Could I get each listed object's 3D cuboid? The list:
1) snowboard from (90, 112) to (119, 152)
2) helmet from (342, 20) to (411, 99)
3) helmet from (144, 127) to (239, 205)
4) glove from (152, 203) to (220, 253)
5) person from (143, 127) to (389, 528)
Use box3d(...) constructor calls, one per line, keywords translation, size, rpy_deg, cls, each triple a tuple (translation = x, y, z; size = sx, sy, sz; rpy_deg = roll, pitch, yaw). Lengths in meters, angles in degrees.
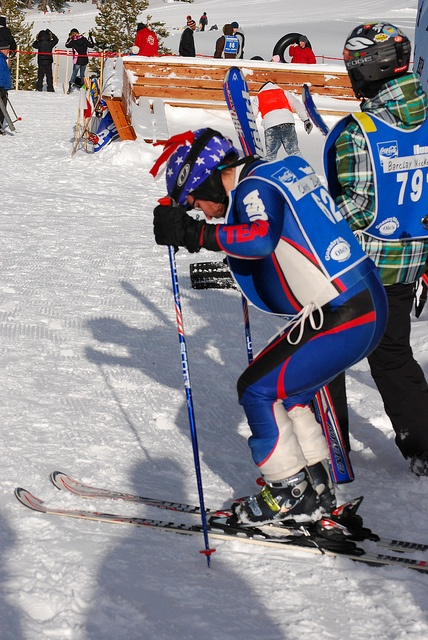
box3d(translation=(-2.046, -3.459, 10.668), size=(0.380, 0.789, 0.549), rpy_deg=(11, 9, 11), cls="snowboard")
box3d(translation=(0.658, -1.049, 2.340), size=(0.240, 0.258, 0.280), rpy_deg=(-34, 32, -33), cls="helmet")
box3d(translation=(-0.082, -0.526, 1.823), size=(0.265, 0.177, 0.169), rpy_deg=(-7, 55, -6), cls="helmet")
box3d(translation=(-0.090, -0.272, 1.862), size=(0.302, 0.115, 0.212), rpy_deg=(6, 6, 5), cls="glove")
box3d(translation=(0.217, 0.018, 1.945), size=(0.809, 1.244, 0.703), rpy_deg=(3, 8, 40), cls="person")
